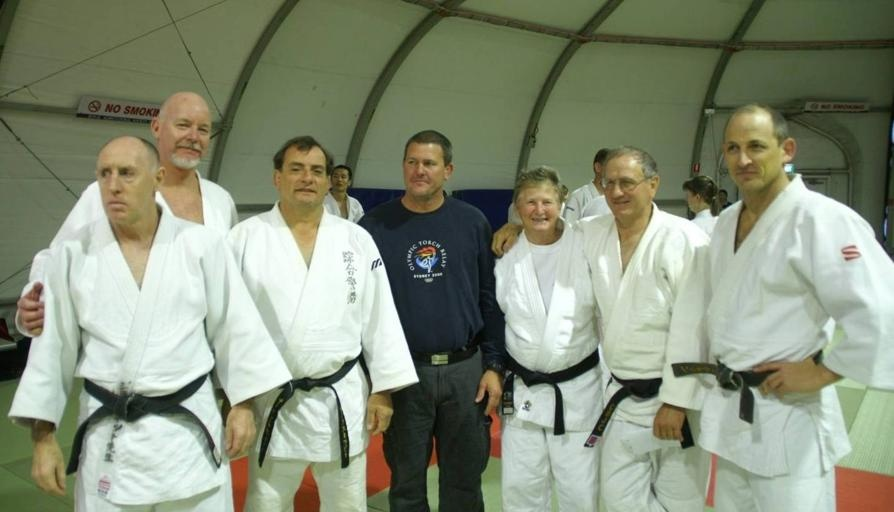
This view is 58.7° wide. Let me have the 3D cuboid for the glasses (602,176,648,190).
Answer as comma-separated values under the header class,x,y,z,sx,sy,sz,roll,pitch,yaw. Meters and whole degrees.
class,x,y,z,sx,sy,sz,roll,pitch,yaw
glasses,1.656,-0.673,7.441,0.386,0.092,0.089,-3,-2,11
